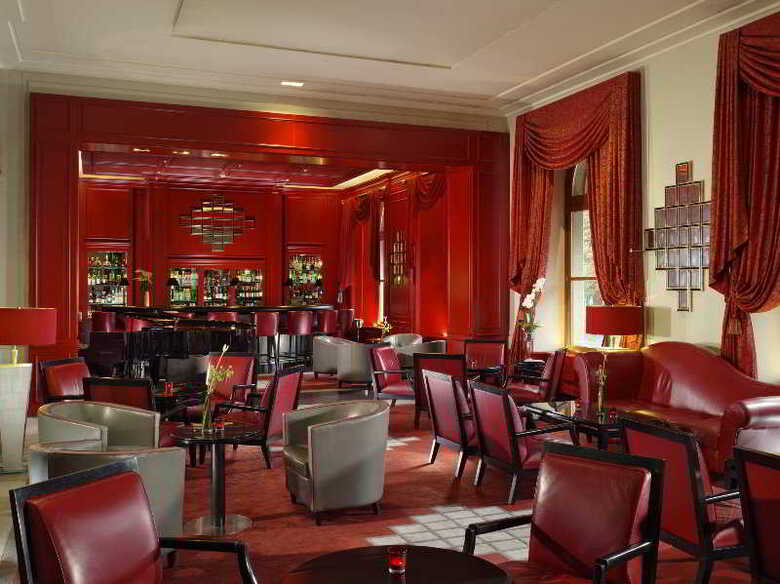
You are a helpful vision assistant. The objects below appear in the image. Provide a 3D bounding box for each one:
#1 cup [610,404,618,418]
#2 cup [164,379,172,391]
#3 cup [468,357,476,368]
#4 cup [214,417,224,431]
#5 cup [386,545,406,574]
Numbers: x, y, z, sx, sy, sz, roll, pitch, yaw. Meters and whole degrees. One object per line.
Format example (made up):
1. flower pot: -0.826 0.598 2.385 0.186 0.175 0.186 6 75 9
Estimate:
1. cup: 2.020 1.064 5.090 0.091 0.124 0.098 -2 4 0
2. cup: -2.329 0.999 6.046 0.100 0.140 0.100 0 4 0
3. cup: 1.147 0.999 7.942 0.094 0.144 0.097 0 4 0
4. cup: -1.326 1.049 4.500 0.073 0.105 0.074 1 6 0
5. cup: 0.038 1.192 2.554 0.084 0.095 0.091 1 4 0
